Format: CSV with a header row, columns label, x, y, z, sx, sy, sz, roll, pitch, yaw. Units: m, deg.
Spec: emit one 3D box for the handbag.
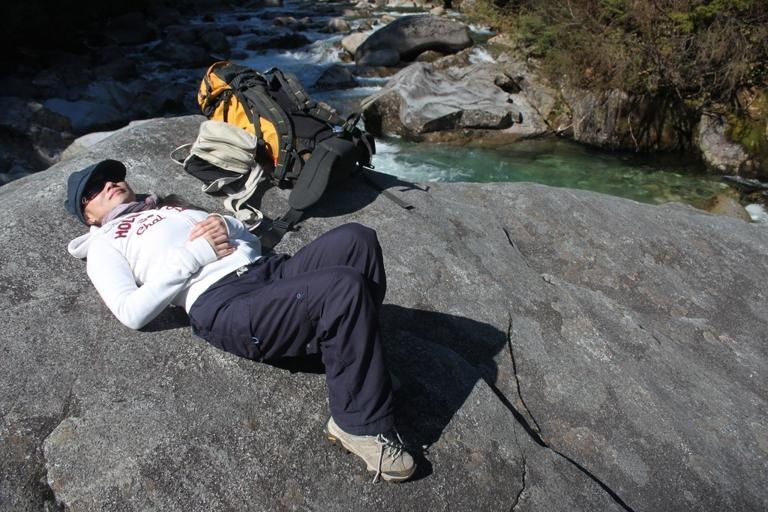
label,x,y,z,sx,sy,sz,roll,pitch,yaw
handbag,-1.634,-0.968,5.271,0.775,0.339,0.629,13,86,7
